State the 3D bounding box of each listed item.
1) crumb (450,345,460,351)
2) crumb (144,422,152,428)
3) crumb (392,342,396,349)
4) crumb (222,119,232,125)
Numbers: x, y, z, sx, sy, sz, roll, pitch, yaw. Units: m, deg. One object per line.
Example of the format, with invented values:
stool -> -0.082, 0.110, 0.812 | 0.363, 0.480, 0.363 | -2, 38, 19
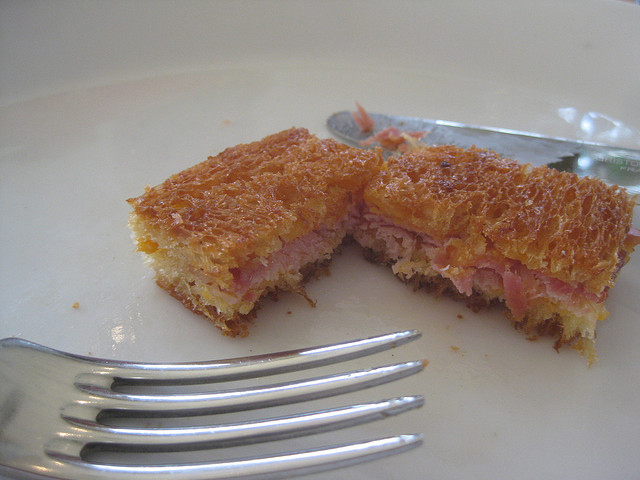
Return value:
crumb -> 0.406, 0.324, 2.097 | 0.025, 0.004, 0.018 | 29, 53, 27
crumb -> -0.474, 0.515, 1.949 | 0.018, 0.012, 0.011 | -10, 94, -18
crumb -> 0.226, 0.317, 2.094 | 0.006, 0.010, 0.018 | 8, 68, -26
crumb -> -0.371, -0.475, 2.836 | 0.025, 0.008, 0.020 | 4, 69, -5
